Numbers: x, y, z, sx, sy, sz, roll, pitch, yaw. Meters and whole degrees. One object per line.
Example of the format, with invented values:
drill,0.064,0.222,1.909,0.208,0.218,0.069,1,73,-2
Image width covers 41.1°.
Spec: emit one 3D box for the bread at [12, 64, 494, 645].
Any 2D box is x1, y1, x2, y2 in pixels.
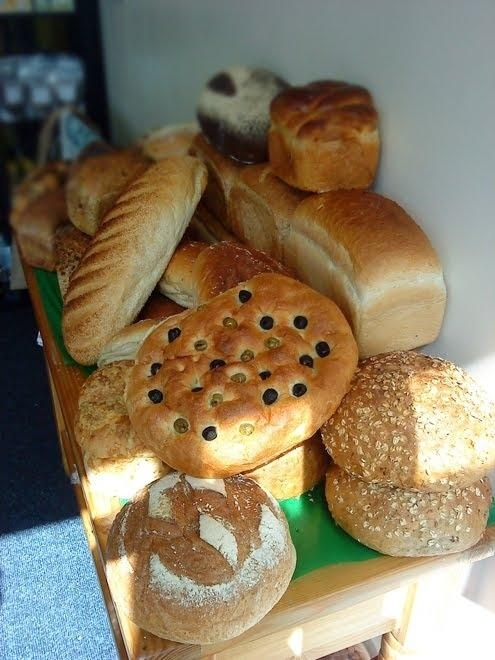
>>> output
bread,-0.024,0.042,0.927,0.629,0.239,0.795,-19,49,-4
